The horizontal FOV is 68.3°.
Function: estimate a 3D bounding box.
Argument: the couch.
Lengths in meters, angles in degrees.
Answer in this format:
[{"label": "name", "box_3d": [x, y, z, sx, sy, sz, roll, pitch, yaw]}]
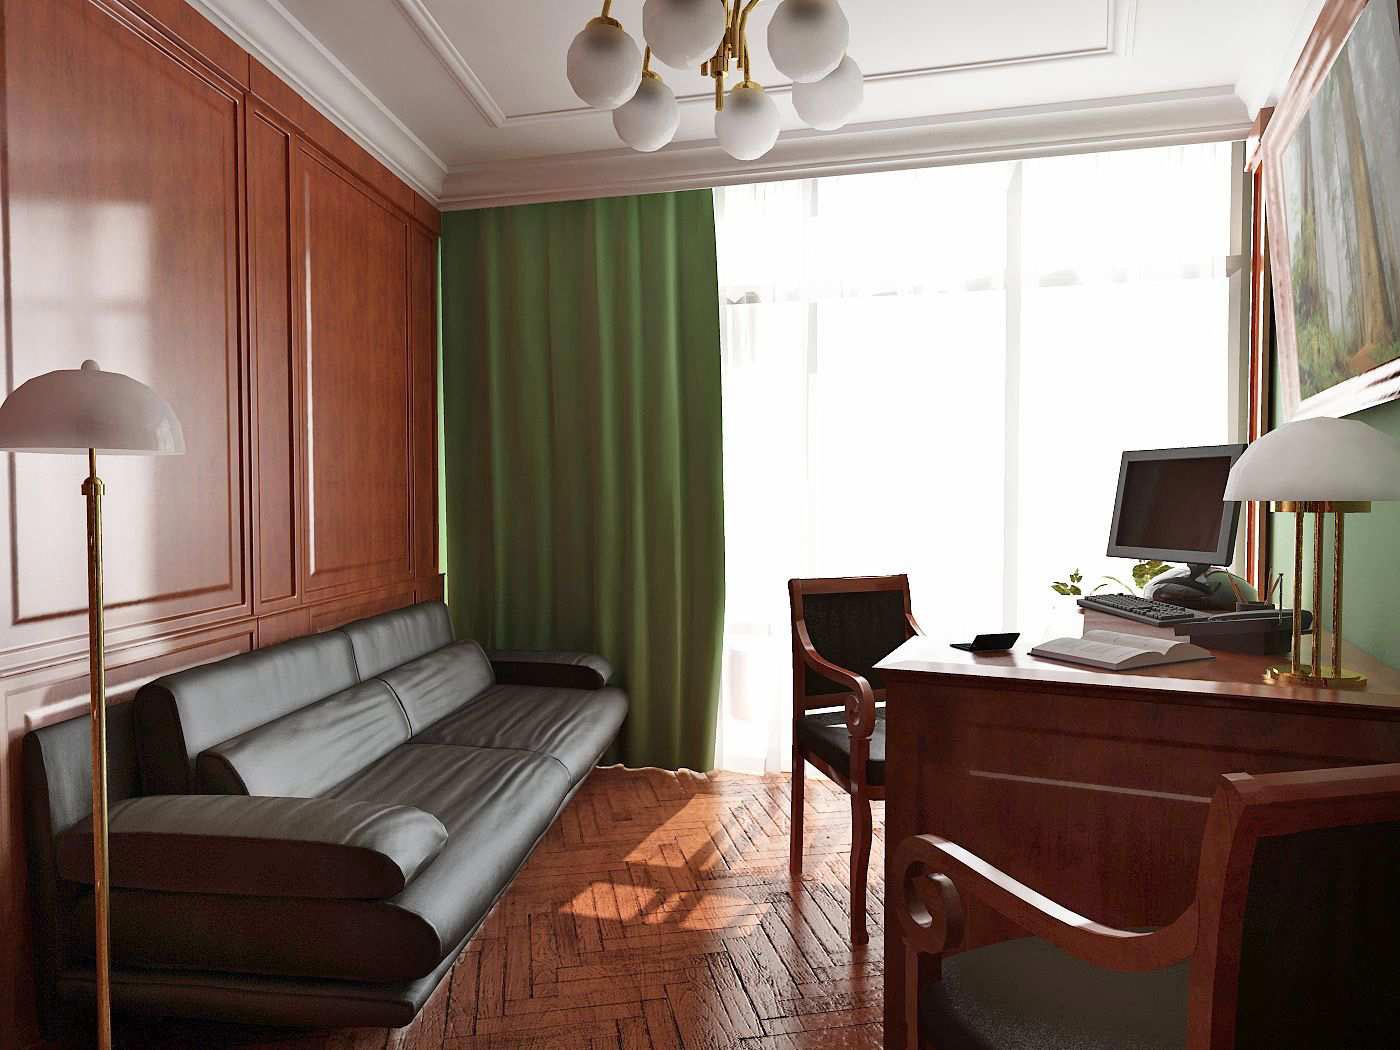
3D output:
[{"label": "couch", "box_3d": [-1.225, 0.456, 3.457, 0.930, 1.011, 2.237, -1, 4, 11]}]

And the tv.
[{"label": "tv", "box_3d": [1.681, 0.010, 3.618, 0.341, 0.670, 0.553, 6, -7, -26]}]
